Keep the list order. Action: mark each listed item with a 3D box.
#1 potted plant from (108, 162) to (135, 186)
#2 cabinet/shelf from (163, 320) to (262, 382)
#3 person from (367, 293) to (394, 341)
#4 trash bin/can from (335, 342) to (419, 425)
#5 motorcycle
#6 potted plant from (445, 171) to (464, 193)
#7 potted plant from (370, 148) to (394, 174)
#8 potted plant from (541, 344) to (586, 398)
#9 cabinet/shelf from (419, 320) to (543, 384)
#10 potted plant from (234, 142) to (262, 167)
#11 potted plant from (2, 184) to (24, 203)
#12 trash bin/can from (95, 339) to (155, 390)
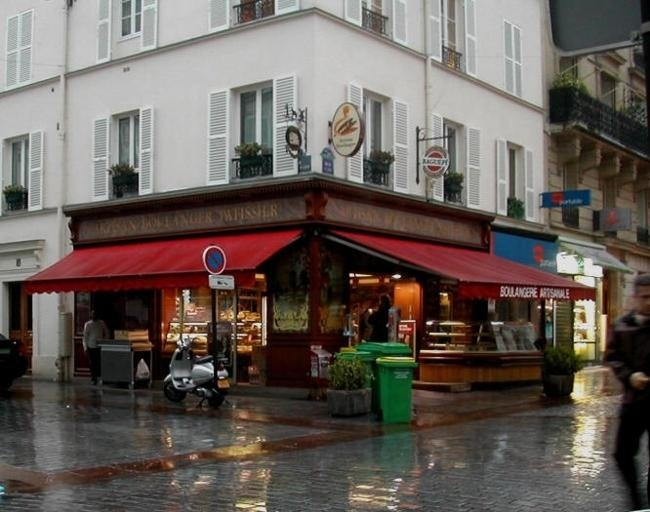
[{"bbox_3d":[-4.970,-2.024,23.107,0.596,0.601,0.567,-1,-4,7],"label":"potted plant"},{"bbox_3d":[-2.729,2.310,22.437,1.305,1.545,2.261,0,0,-31],"label":"cabinet/shelf"},{"bbox_3d":[1.288,1.449,21.775,0.523,1.053,0.827,-1,-3,-9],"label":"person"},{"bbox_3d":[0.950,2.242,16.555,1.302,1.157,1.311,0,-2,26],"label":"trash bin/can"},{"bbox_3d":[-2.470,2.247,18.049,0.584,1.292,1.500,1,-4,-41],"label":"motorcycle"},{"bbox_3d":[3.280,-1.865,23.676,0.498,0.543,0.532,-1,-1,44],"label":"potted plant"},{"bbox_3d":[1.342,-2.178,21.584,0.470,0.561,0.548,1,1,26],"label":"potted plant"},{"bbox_3d":[5.102,2.423,19.709,0.948,1.016,0.864,3,-1,-26],"label":"potted plant"},{"bbox_3d":[3.697,2.249,21.308,2.517,1.000,1.552,5,-7,-44],"label":"cabinet/shelf"},{"bbox_3d":[-1.680,-2.262,20.901,0.494,0.432,0.569,4,-5,-44],"label":"potted plant"},{"bbox_3d":[-8.382,-1.695,25.450,0.579,0.425,0.476,-7,-12,44],"label":"potted plant"},{"bbox_3d":[-4.550,2.471,21.510,1.133,1.054,0.776,-2,-3,38],"label":"trash bin/can"}]
